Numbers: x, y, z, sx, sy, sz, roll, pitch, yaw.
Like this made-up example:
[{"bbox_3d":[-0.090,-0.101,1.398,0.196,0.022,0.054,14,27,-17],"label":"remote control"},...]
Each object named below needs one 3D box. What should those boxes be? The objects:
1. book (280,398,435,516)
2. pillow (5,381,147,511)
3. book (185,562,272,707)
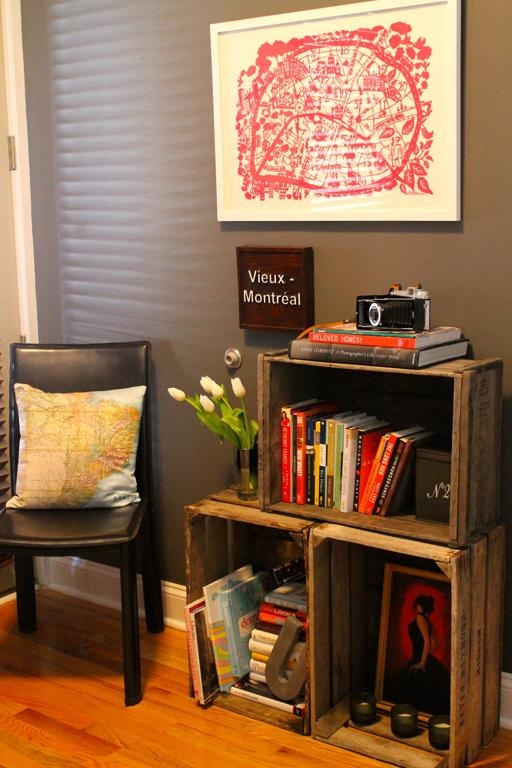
[{"bbox_3d":[0.238,0.175,1.540,0.380,0.247,0.146,0,7,41],"label":"book"},{"bbox_3d":[-0.520,0.189,1.872,0.380,0.373,0.143,0,-9,5],"label":"pillow"},{"bbox_3d":[-0.077,0.681,1.685,0.113,0.313,0.329,-1,9,30],"label":"book"}]
